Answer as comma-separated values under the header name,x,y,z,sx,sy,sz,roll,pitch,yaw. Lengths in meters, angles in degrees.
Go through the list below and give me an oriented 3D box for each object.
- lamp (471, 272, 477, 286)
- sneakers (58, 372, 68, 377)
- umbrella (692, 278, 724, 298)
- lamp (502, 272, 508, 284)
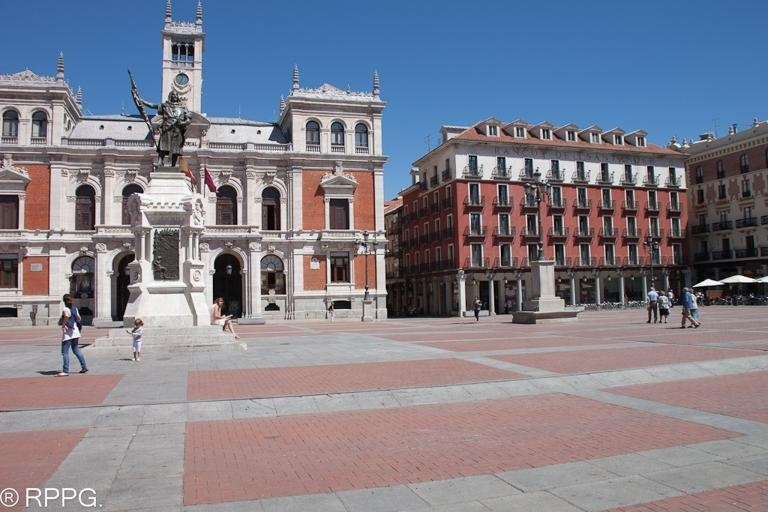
name,x,y,z,sx,sy,sz,roll,pitch,yaw
lamp,7.737,1.941,58.792,0.431,0.971,0.352,-3,12,-11
sneakers,-9.010,3.297,19.169,0.241,0.082,0.130,5,-10,-8
umbrella,28.950,2.861,60.903,1.978,1.185,1.848,-11,9,-30
lamp,10.642,1.935,59.793,0.583,1.050,0.216,-2,12,-7
